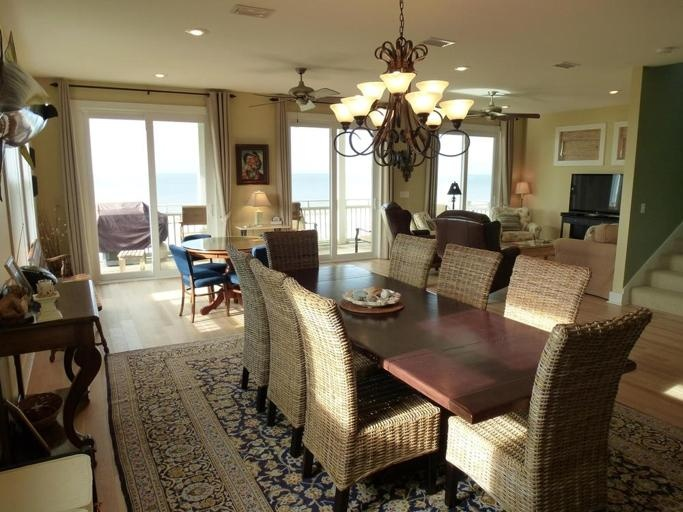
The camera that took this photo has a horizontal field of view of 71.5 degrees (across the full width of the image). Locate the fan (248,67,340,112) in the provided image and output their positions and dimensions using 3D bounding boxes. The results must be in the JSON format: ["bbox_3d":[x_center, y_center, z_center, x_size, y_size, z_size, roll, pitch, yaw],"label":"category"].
[{"bbox_3d":[-0.495,-2.052,5.680,1.107,0.394,1.015,6,15,39],"label":"fan"}]

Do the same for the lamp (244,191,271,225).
[{"bbox_3d":[-1.331,-0.774,7.609,0.398,0.518,0.416,2,5,42],"label":"lamp"}]

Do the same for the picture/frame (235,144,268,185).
[{"bbox_3d":[-1.465,-1.515,7.647,0.648,0.730,0.050,-6,14,-31],"label":"picture/frame"}]

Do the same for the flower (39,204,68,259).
[{"bbox_3d":[-4.003,-0.343,6.608,0.118,0.688,0.343,8,17,38],"label":"flower"}]

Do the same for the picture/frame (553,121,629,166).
[{"bbox_3d":[4.785,-2.182,9.241,0.113,0.795,1.393,-12,15,-31],"label":"picture/frame"}]

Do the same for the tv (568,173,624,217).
[{"bbox_3d":[4.842,-1.158,9.078,1.261,0.829,0.331,-1,7,-19],"label":"tv"}]

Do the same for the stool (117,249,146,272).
[{"bbox_3d":[-3.181,0.036,7.237,0.347,0.307,0.325,-6,18,-20],"label":"stool"}]
